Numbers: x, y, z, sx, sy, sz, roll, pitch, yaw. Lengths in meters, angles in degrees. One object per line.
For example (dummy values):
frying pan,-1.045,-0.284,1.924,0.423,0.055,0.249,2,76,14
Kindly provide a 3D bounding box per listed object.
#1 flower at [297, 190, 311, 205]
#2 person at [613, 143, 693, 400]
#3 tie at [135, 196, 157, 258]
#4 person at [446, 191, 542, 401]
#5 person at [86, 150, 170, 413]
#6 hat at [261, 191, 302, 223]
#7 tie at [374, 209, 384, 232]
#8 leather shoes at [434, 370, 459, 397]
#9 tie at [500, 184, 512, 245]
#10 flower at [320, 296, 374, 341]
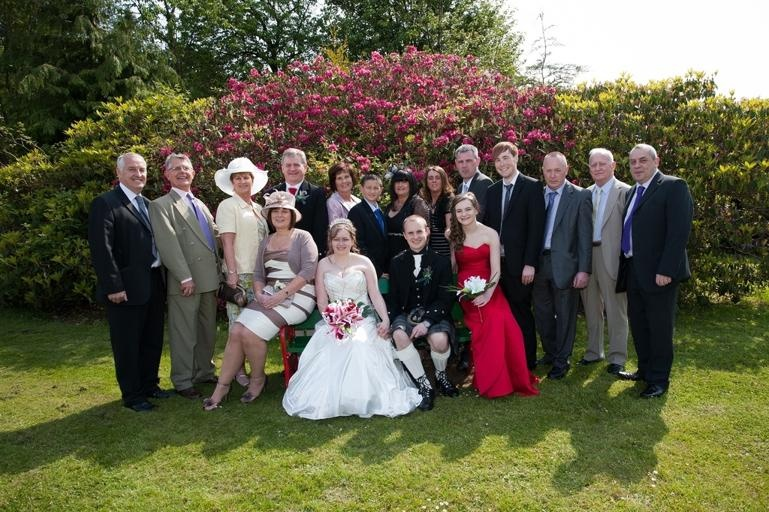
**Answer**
flower,-1.183,-0.878,8.454,0.219,0.110,0.206,24,24,-25
person,3.616,0.190,7.746,0.886,3.402,0.518,2,5,30
tie,-3.228,-0.499,7.849,0.183,1.063,0.169,-10,-3,-25
person,1.454,0.515,7.941,1.230,2.802,0.689,2,5,25
person,-3.402,0.325,7.679,0.929,3.474,0.563,-3,5,-33
hat,-1.449,-0.712,7.942,0.450,0.237,0.423,10,-22,-33
tie,-0.078,-0.526,8.541,0.102,0.284,0.205,-30,1,7
leather shoes,0.847,1.759,7.878,0.403,0.283,0.199,7,15,45
tie,1.777,-0.616,8.306,0.118,0.895,0.100,-7,-21,38
flower,-0.357,0.783,7.829,0.535,0.390,0.535,-28,9,-29
